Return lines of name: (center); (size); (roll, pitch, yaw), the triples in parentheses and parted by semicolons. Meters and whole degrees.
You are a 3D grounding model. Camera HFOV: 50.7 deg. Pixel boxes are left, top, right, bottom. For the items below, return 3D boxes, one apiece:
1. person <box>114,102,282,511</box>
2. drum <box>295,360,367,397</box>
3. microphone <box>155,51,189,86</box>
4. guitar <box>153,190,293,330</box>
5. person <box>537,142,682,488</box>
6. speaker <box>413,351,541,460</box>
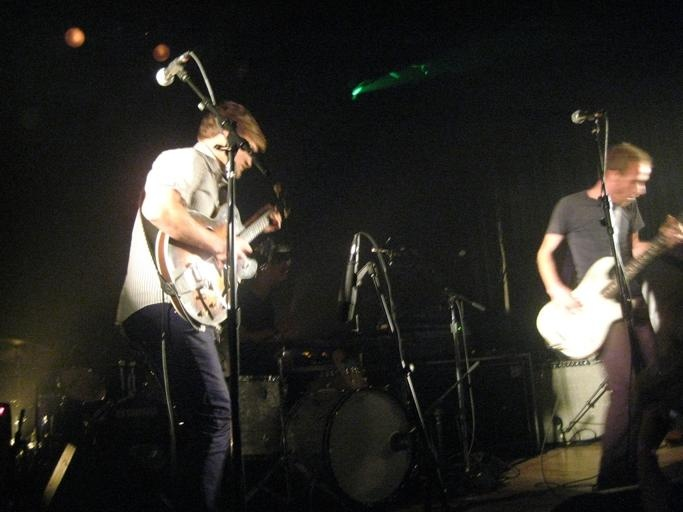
person: (-1.025, 0.270, 5.007); (0.839, 2.876, 0.689); (9, -18, -31)
drum: (-0.086, 1.023, 6.201); (0.458, 0.144, 0.337); (-1, -11, -25)
microphone: (-1.178, -1.314, 5.040); (0.168, 0.211, 0.242); (9, -18, -32)
guitar: (-0.849, -0.037, 5.119); (0.141, 0.993, 0.517); (-17, -61, 38)
person: (2.191, 0.434, 5.809); (1.151, 2.735, 0.616); (-8, -17, 24)
speaker: (1.336, 1.426, 7.184); (1.146, 1.058, 0.622); (-7, 8, 4)
